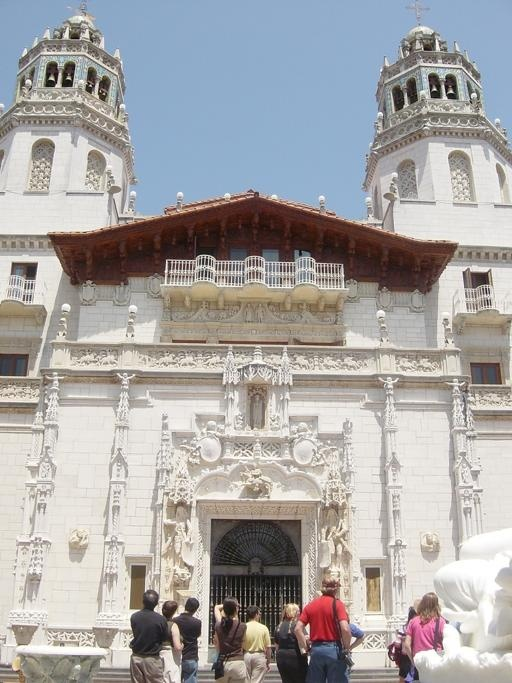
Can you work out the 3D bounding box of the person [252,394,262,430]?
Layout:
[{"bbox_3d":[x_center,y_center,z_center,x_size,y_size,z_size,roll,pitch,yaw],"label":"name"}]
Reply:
[{"bbox_3d":[0.064,1.917,20.316,0.329,0.969,0.104,4,-24,-5],"label":"person"}]

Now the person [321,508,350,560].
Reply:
[{"bbox_3d":[2.004,4.833,18.701,0.726,1.235,0.221,-3,-25,9],"label":"person"}]

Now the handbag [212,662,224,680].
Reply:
[{"bbox_3d":[-0.500,4.257,9.572,0.111,0.232,0.410,5,-24,-9],"label":"handbag"}]

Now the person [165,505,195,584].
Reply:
[{"bbox_3d":[-1.925,5.049,18.287,0.794,2.036,0.366,4,-24,-6],"label":"person"}]
